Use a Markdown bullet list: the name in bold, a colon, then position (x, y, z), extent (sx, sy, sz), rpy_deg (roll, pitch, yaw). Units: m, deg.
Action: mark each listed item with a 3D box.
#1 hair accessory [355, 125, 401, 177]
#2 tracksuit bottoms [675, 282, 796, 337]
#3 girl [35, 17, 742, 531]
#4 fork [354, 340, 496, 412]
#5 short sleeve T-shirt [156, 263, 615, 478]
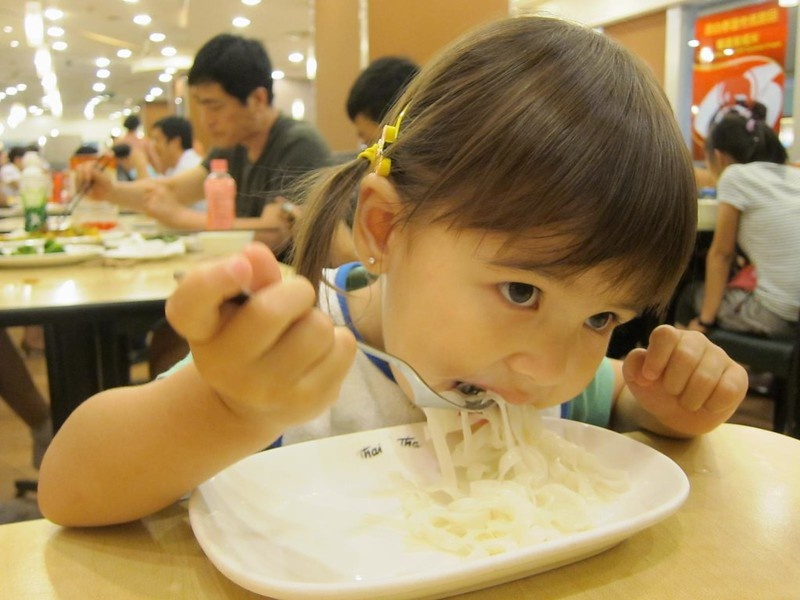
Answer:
- **hair accessory**: position (-0.022, -0.223, 1.018), extent (0.027, 0.074, 0.072), rpy_deg (23, 26, -22)
- **tracksuit bottoms**: position (1.192, 0.054, 2.474), extent (0.199, 0.121, 0.326), rpy_deg (-5, 13, -40)
- **girl**: position (-0.032, -0.031, 1.015), extent (1.001, 0.559, 0.663), rpy_deg (1, 6, -31)
- **fork**: position (0.038, 0.122, 0.968), extent (0.031, 0.174, 0.104), rpy_deg (-58, 17, -21)
- **short sleeve T-shirt**: position (-0.031, 0.173, 1.214), extent (0.433, 0.154, 0.386), rpy_deg (3, 48, -8)
